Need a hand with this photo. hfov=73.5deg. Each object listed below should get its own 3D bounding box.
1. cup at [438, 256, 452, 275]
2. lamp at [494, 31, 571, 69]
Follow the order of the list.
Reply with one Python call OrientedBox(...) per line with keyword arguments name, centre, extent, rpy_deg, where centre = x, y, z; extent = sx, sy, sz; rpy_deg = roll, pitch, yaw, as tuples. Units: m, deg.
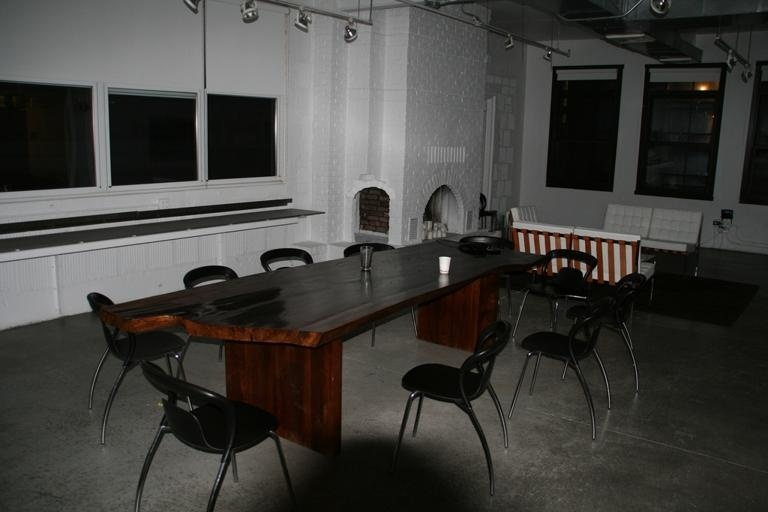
OrientedBox(name="cup", centre=(0.635, 0.079, 5.216), extent=(0.153, 0.178, 0.156), rpy_deg=(0, 15, 0))
OrientedBox(name="lamp", centre=(3.385, -4.686, 11.653), extent=(0.246, 0.381, 2.275), rpy_deg=(3, 7, 36))
